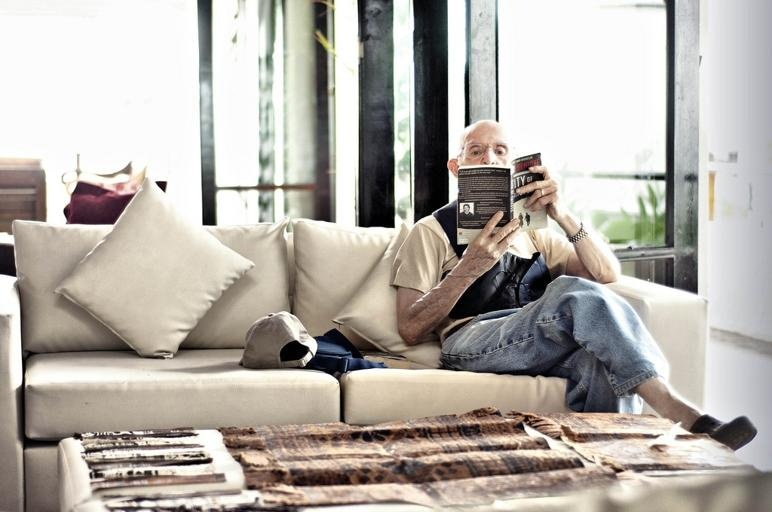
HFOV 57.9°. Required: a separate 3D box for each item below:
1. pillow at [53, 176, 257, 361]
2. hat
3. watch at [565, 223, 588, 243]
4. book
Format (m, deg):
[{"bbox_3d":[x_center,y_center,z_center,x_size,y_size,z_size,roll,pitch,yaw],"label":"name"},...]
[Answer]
[{"bbox_3d":[-0.866,0.075,2.671,0.648,0.631,0.175,-54,12,-25],"label":"pillow"},{"bbox_3d":[-0.403,0.296,2.590,0.250,0.147,0.189,-10,5,-13],"label":"hat"},{"bbox_3d":[0.758,-0.080,2.805,0.076,0.028,0.069,-30,-25,19],"label":"watch"},{"bbox_3d":[0.413,-0.221,2.642,0.336,0.340,0.082,-11,13,-8],"label":"book"}]
